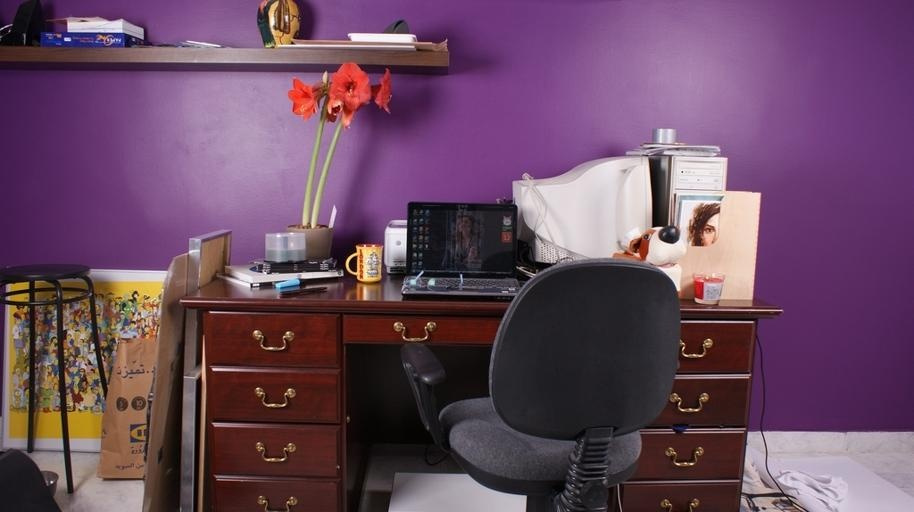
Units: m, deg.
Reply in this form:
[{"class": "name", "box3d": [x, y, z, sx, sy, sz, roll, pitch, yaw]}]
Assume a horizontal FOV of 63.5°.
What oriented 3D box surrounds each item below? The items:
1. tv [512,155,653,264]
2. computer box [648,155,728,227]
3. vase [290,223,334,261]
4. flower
[{"class": "tv", "box3d": [0.722, -0.290, 4.566, 0.798, 0.735, 0.586, -1, 2, 1]}, {"class": "computer box", "box3d": [1.380, -0.239, 4.420, 0.368, 0.547, 0.429, 9, -21, -10]}, {"class": "vase", "box3d": [-0.896, -0.081, 4.525, 0.248, 0.172, 0.218, -2, 6, -23]}, {"class": "flower", "box3d": [-0.717, -0.677, 4.612, 0.643, 1.001, 0.389, -1, 8, -10]}]
